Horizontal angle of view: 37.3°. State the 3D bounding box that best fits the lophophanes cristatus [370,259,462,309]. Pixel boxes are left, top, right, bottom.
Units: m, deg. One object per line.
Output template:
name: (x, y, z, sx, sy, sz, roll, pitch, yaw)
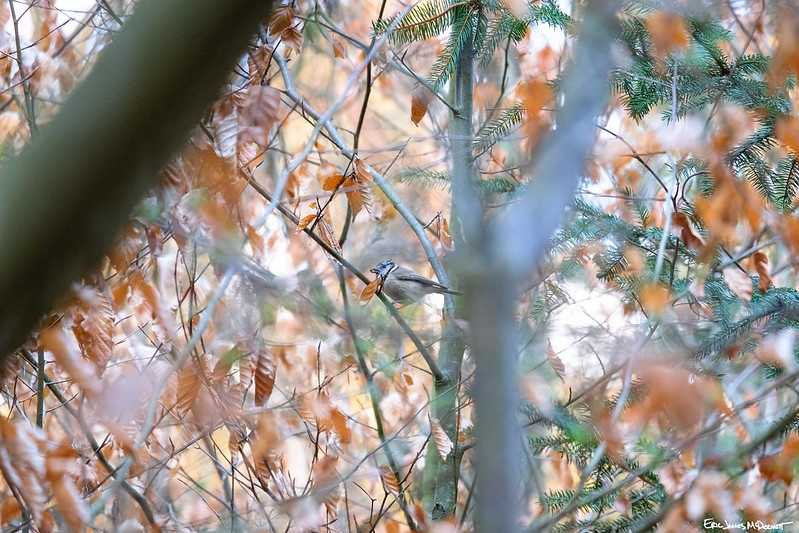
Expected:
lophophanes cristatus: (0.130, 0.103, 7.230, 0.657, 0.209, 0.334, 2, -82, 29)
